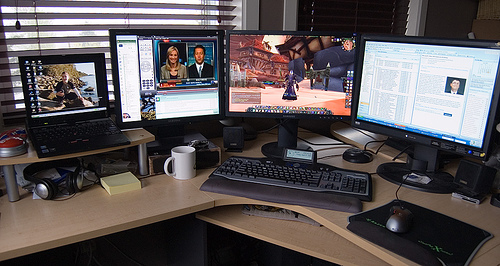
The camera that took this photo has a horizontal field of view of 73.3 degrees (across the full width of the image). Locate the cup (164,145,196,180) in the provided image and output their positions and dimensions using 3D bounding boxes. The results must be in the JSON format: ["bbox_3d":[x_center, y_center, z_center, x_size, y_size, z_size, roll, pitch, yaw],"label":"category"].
[{"bbox_3d":[-0.432,0.192,1.998,0.146,0.139,0.223,10,15,34],"label":"cup"}]

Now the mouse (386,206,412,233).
[{"bbox_3d":[0.742,0.437,1.686,0.104,0.087,0.124,6,21,29],"label":"mouse"}]

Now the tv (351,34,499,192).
[{"bbox_3d":[1.010,-0.123,1.934,0.867,0.819,0.504,16,28,40],"label":"tv"}]

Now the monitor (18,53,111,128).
[{"bbox_3d":[-1.075,-0.245,1.956,0.467,0.433,0.143,0,5,-25],"label":"monitor"}]

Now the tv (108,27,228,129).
[{"bbox_3d":[-0.513,-0.347,2.065,0.785,0.527,0.053,-4,12,-16],"label":"tv"}]

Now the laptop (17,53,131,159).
[{"bbox_3d":[-0.965,-0.164,1.895,0.445,0.400,0.516,35,34,29],"label":"laptop"}]
